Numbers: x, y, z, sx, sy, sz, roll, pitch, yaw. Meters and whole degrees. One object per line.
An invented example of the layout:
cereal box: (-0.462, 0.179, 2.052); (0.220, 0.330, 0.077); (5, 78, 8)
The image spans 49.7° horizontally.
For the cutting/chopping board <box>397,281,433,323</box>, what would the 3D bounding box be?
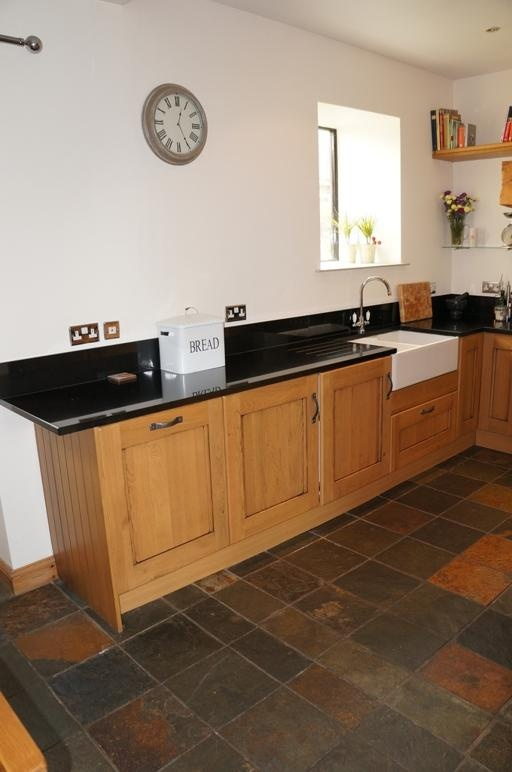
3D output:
cutting/chopping board: (1.130, -0.606, 3.961); (0.038, 0.221, 0.284); (3, 13, 42)

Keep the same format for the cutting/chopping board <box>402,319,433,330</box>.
cutting/chopping board: (1.125, -0.429, 3.852); (0.210, 0.055, 0.546); (1, 10, 18)

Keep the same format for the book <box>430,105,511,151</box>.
book: (1.397, -1.796, 3.880); (0.333, 0.294, 0.206); (-2, 9, 4)

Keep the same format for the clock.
clock: (-0.343, -1.159, 2.444); (0.317, 0.321, 0.028); (-15, 23, -37)

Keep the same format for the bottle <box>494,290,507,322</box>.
bottle: (1.698, -0.550, 3.820); (0.082, 0.207, 0.163); (2, 9, 24)

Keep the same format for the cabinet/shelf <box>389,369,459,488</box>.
cabinet/shelf: (0.979, 0.235, 3.251); (0.293, 0.517, 0.531); (9, 19, 40)

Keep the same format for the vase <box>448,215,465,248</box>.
vase: (1.517, -1.167, 4.166); (0.105, 0.223, 0.186); (1, 9, 22)

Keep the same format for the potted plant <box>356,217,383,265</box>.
potted plant: (0.796, -1.033, 3.905); (0.161, 0.336, 0.220); (1, 9, 22)

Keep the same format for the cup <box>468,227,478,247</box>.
cup: (1.621, -1.114, 4.133); (0.060, 0.133, 0.051); (2, 9, 26)

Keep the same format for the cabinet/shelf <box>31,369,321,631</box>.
cabinet/shelf: (-0.274, 0.400, 2.340); (1.059, 0.794, 0.520); (-10, 12, -42)

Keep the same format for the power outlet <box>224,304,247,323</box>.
power outlet: (-0.104, -0.379, 2.884); (0.024, 0.090, 0.154); (5, 11, 40)

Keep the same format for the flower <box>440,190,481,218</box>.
flower: (1.498, -1.359, 4.093); (0.227, 0.219, 0.253); (4, 11, 37)
